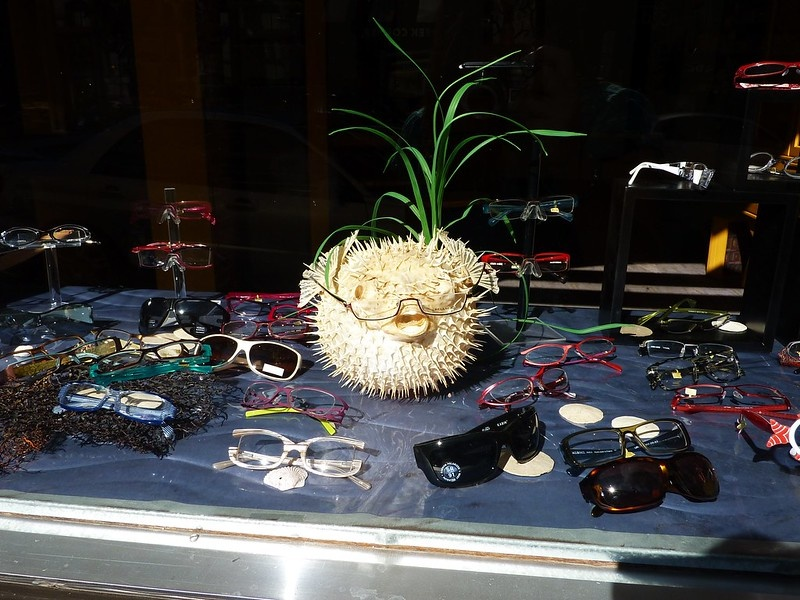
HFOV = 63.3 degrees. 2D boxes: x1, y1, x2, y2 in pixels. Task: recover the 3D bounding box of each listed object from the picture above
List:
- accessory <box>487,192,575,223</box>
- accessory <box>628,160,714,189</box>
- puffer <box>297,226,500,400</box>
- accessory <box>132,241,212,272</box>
[{"bbox_3d":[0.365,-0.260,1.809,0.193,0.032,0.148,-1,2,1],"label":"accessory"},{"bbox_3d":[0.732,-0.344,1.749,0.203,0.040,0.155,-4,11,7],"label":"accessory"},{"bbox_3d":[0.021,0.021,1.609,0.588,0.360,0.465,-2,1,-7],"label":"puffer"},{"bbox_3d":[-0.688,-0.132,1.971,0.181,0.037,0.142,1,11,-5],"label":"accessory"}]
